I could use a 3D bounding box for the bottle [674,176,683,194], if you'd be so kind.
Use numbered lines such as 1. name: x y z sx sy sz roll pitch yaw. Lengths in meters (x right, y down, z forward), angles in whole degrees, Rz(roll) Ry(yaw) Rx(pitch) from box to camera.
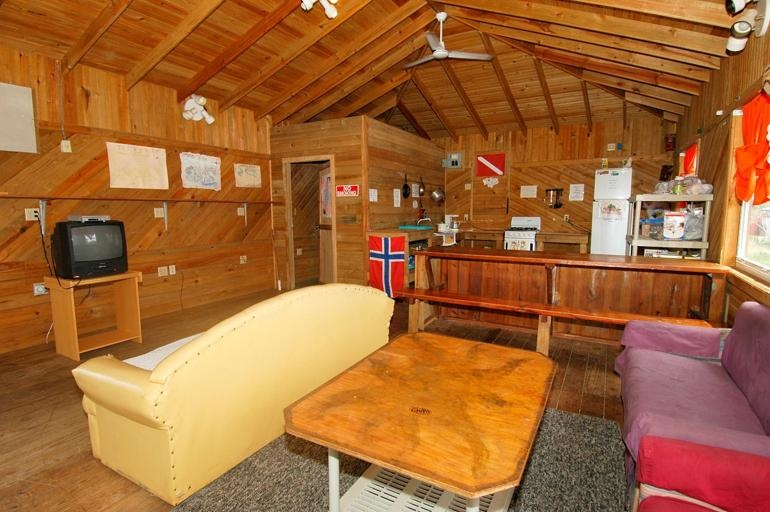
1. bottle: 3.403 -0.819 5.433 0.091 0.204 0.194 4 6 32

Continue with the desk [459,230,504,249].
1. desk: 1.896 -0.348 9.387 0.838 0.340 0.746 1 4 7

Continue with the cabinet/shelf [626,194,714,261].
1. cabinet/shelf: 3.691 -0.389 6.216 0.836 0.803 2.055 3 5 27

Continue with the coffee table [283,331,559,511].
1. coffee table: 0.329 1.072 3.344 1.307 0.755 1.601 12 22 28

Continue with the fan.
1. fan: 0.888 -3.069 6.616 1.122 0.590 0.949 3 -2 -30

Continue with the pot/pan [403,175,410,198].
1. pot/pan: 0.363 -1.218 8.294 0.060 0.321 0.249 -2 5 31

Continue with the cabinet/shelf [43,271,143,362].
1. cabinet/shelf: -3.543 0.677 5.879 0.871 0.913 0.959 -8 1 -37

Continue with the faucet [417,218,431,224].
1. faucet: 0.774 -0.657 8.972 0.201 0.065 0.199 -2 0 29

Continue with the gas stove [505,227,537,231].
1. gas stove: 2.614 -0.517 8.907 0.578 0.060 0.410 1 4 9

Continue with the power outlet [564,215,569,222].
1. power outlet: 3.397 -0.702 8.783 0.115 0.104 0.110 26 21 31

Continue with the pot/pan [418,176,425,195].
1. pot/pan: 0.688 -1.305 8.837 0.094 0.267 0.210 3 10 29
